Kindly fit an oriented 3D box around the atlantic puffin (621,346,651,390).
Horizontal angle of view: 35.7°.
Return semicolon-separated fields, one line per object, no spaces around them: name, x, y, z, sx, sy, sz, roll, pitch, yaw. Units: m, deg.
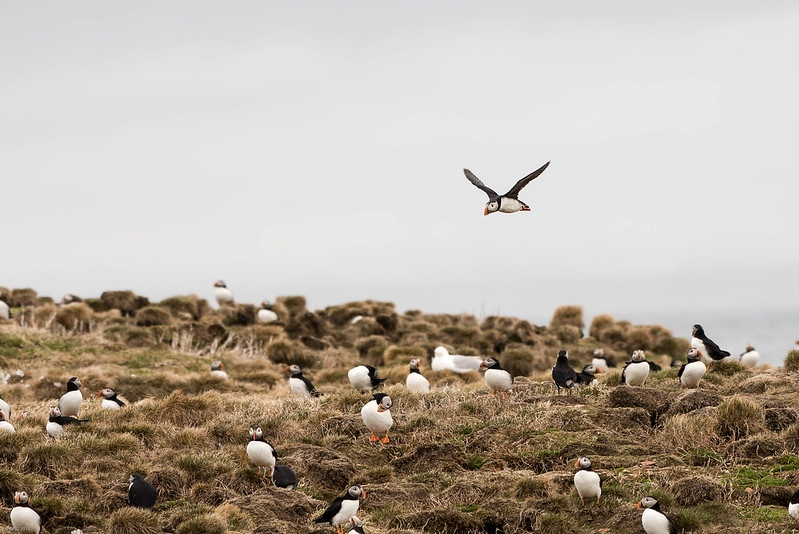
atlantic puffin;5.750;2.441;30.011;0.603;0.965;0.952;3;1;-5

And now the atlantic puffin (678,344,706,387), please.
atlantic puffin;6.967;2.348;29.453;0.641;1.042;1.014;1;7;-8

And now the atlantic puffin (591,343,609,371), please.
atlantic puffin;6.471;2.895;39.838;0.481;0.790;0.804;0;-33;17
